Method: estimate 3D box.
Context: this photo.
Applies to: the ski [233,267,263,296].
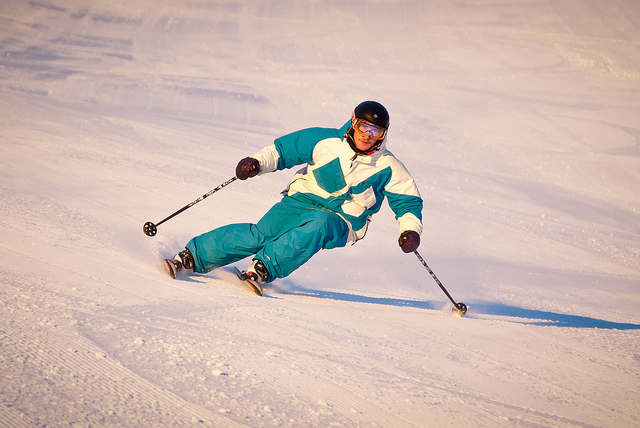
[{"bbox_3d":[-1.177,1.266,12.290,0.196,0.190,1.351,52,-9,-27],"label":"ski"}]
